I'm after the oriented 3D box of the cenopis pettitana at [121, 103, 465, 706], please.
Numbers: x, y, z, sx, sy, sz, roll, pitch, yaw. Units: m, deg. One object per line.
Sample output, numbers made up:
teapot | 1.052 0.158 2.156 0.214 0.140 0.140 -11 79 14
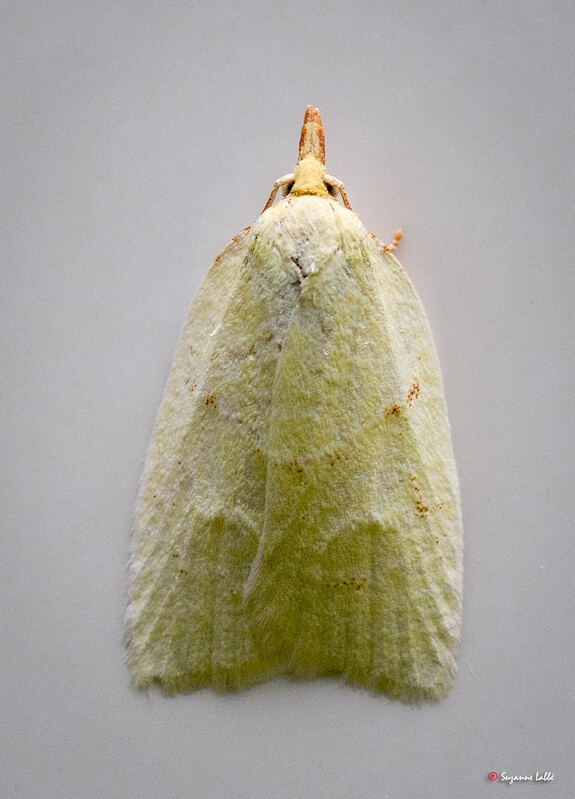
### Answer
cenopis pettitana | 0.027 0.008 2.683 0.529 1.208 0.283 1 1 0
